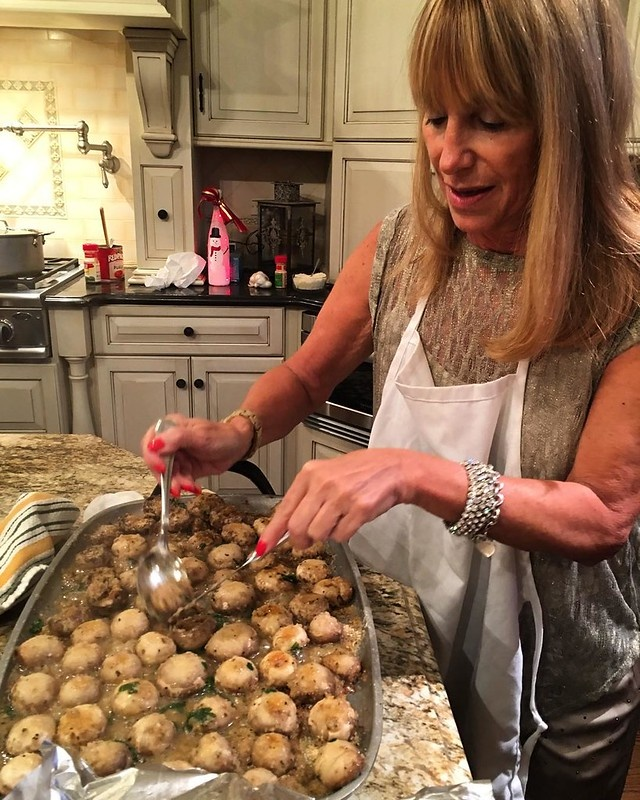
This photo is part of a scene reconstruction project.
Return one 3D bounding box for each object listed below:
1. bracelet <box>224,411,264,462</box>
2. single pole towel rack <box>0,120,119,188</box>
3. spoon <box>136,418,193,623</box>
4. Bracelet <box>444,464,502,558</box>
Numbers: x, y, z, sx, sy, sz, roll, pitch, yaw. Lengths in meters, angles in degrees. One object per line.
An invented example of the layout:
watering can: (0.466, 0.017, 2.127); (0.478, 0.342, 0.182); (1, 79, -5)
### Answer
bracelet: (-0.106, 0.055, 0.961); (0.034, 0.062, 0.075); (-14, 27, -27)
single pole towel rack: (-1.185, -1.110, 2.800); (0.506, 0.268, 0.137); (-1, 13, -2)
spoon: (-0.195, 0.153, 0.794); (0.065, 0.246, 0.035); (-4, -33, 0)
Bracelet: (0.179, 0.124, 0.711); (0.077, 0.088, 0.040); (-26, -1, 12)
